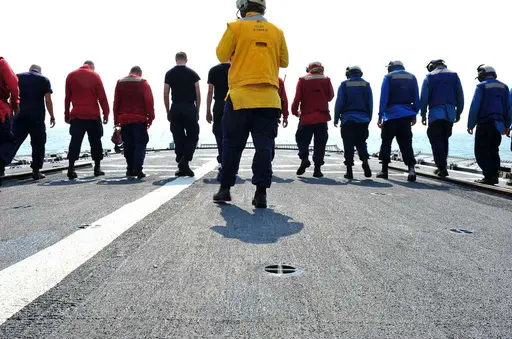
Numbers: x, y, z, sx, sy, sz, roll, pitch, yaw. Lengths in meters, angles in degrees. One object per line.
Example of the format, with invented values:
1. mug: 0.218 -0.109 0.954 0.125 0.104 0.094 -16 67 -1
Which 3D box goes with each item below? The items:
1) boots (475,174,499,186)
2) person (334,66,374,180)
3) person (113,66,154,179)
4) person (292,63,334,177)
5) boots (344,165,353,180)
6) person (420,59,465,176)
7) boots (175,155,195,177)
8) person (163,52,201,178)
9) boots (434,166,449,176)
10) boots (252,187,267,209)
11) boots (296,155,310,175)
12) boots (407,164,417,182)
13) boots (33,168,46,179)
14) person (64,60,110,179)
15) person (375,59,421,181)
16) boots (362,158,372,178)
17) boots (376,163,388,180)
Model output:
1. boots: 4.091 0.167 6.521 0.210 0.191 0.528 3 4 -20
2. person: 2.086 -1.057 7.890 0.822 2.348 1.203 3 11 12
3. person: -2.383 -0.883 7.407 0.734 2.015 0.879 -5 12 -28
4. person: 1.201 -1.015 8.072 0.876 2.165 0.844 2 11 9
5. boots: 1.898 0.076 7.488 0.162 0.265 0.300 0 11 -6
6. person: 3.787 -1.012 7.656 0.759 2.203 0.806 7 12 32
7. boots: -1.378 -0.055 7.138 0.321 0.389 0.396 -3 11 -18
8. person: -1.479 -1.135 7.383 0.704 2.437 1.003 -1 11 -10
9. boots: 3.773 0.029 7.631 0.181 0.187 0.473 1 11 4
10. boots: 0.040 0.324 4.315 0.172 0.228 0.242 0 10 -1
11. boots: 1.072 -0.093 8.447 0.185 0.450 0.329 24 19 -10
12. boots: 2.989 0.064 7.110 0.148 0.306 0.389 5 11 22
13. boots: -4.124 0.092 7.084 0.118 0.172 0.277 4 11 4
14. person: -3.496 -1.059 7.600 0.864 2.368 0.647 -6 13 -32
15. person: 2.931 -1.050 7.604 0.831 2.445 1.242 5 11 21
16. boots: 2.269 -0.021 7.635 0.187 0.378 0.342 3 11 15
17. boots: 2.683 0.026 7.712 0.205 0.316 0.358 1 13 -5
